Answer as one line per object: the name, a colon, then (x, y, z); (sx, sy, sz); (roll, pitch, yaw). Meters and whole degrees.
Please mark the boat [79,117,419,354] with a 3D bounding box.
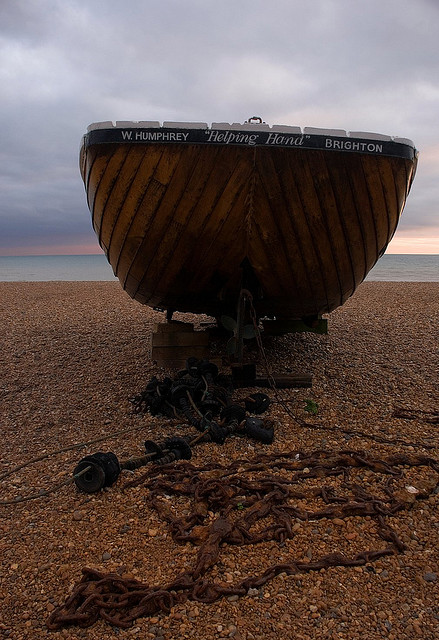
boat: (0.091, -0.117, 5.192); (2.879, 1.808, 3.960); (-5, -13, -6)
